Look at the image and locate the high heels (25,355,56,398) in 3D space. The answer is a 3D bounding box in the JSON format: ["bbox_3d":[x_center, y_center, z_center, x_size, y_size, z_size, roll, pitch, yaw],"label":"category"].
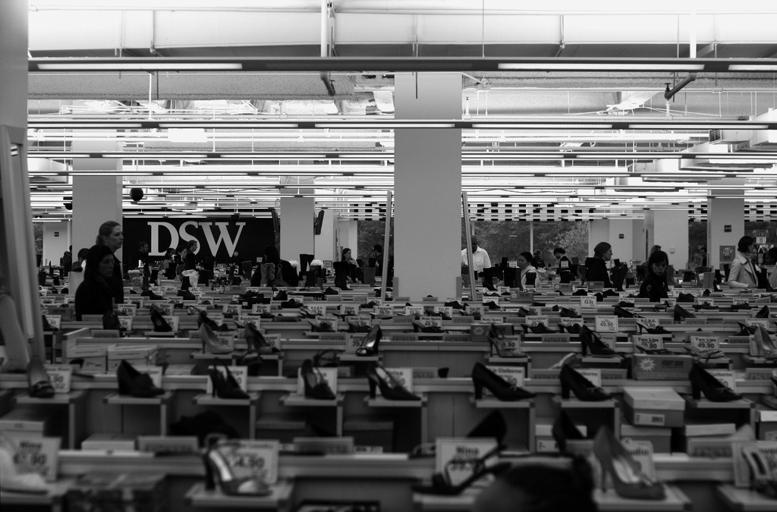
[{"bbox_3d":[-3.126,1.124,8.722,0.157,0.487,0.129,-7,-29,-14],"label":"high heels"}]

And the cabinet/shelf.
[{"bbox_3d":[0.042,1.420,8.564,6.121,1.249,3.105,1,0,-9],"label":"cabinet/shelf"}]
